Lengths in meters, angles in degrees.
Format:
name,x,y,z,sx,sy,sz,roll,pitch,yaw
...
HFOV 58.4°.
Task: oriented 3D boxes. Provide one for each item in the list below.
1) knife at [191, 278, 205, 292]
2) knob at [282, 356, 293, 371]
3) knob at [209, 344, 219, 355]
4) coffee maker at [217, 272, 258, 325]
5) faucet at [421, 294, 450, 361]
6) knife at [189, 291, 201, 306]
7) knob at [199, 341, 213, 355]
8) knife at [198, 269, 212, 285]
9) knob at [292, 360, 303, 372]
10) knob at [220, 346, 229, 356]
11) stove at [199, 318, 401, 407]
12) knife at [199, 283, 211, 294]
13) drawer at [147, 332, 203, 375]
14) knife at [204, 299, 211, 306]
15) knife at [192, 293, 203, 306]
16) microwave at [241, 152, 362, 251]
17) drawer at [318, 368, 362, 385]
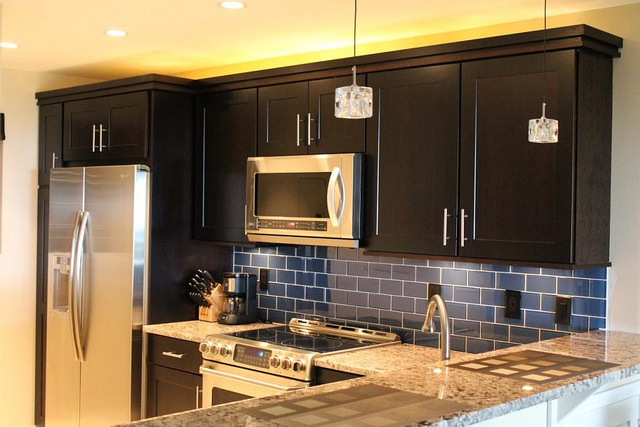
name,x,y,z,sx,sy,sz,roll,pitch,yaw
knife,-0.977,0.577,4.578,0.025,0.132,0.018,-44,-5,13
knob,-0.203,0.953,3.627,0.073,0.087,0.036,-6,-4,41
knob,-0.733,0.938,3.943,0.077,0.074,0.039,0,0,36
coffee maker,-0.658,0.675,4.602,0.273,0.377,0.325,-1,-2,34
faucet,0.638,0.618,3.142,0.139,0.353,0.324,-4,-3,10
knife,-1.004,0.674,4.570,0.120,0.021,0.052,47,5,28
knob,-0.799,0.930,3.972,0.092,0.113,0.084,5,-5,-41
knife,-0.937,0.509,4.639,0.026,0.086,0.098,-18,20,-33
knob,-0.138,0.956,3.579,0.040,0.076,0.077,3,-3,-44
knob,-0.652,0.941,3.908,0.066,0.064,0.035,-4,-6,38
stove,-0.188,1.192,4.026,1.200,0.719,0.936,-5,-6,45
knife,-0.912,0.592,4.556,0.055,0.034,0.197,22,17,-36
drawer,-1.058,1.020,4.206,0.377,0.162,0.289,0,-10,40
knife,-0.893,0.708,4.540,0.043,0.054,0.042,-3,-3,-20
knife,-0.972,0.694,4.567,0.025,0.128,0.017,-34,8,32
microwave,-0.015,-0.077,4.207,1.032,0.632,0.679,1,2,44
drawer,0.098,1.013,3.514,0.308,0.103,0.048,-6,-4,44
